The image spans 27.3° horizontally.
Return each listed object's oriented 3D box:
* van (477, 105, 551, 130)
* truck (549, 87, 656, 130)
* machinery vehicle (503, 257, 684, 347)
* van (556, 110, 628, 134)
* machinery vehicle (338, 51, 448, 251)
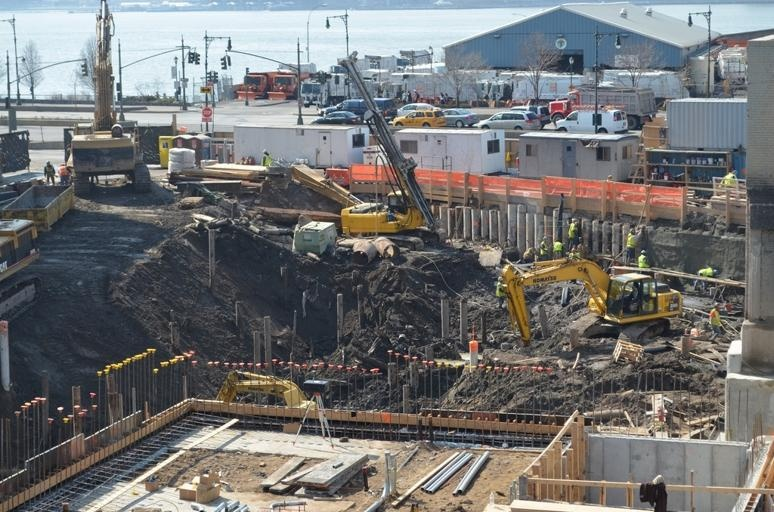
[{"bbox_3d":[8.050,-8.726,104.612,2.619,1.286,5.038,7,14,43],"label":"van"},{"bbox_3d":[13.898,-9.520,106.535,6.269,2.200,3.312,2,-3,4],"label":"truck"},{"bbox_3d":[9.275,1.895,76.593,9.804,4.237,3.677,-5,6,-19],"label":"machinery vehicle"},{"bbox_3d":[12.858,-8.325,100.118,3.698,1.465,1.770,7,11,28],"label":"van"},{"bbox_3d":[0.170,-5.546,85.627,4.860,10.131,1.708,-2,10,2],"label":"machinery vehicle"}]
